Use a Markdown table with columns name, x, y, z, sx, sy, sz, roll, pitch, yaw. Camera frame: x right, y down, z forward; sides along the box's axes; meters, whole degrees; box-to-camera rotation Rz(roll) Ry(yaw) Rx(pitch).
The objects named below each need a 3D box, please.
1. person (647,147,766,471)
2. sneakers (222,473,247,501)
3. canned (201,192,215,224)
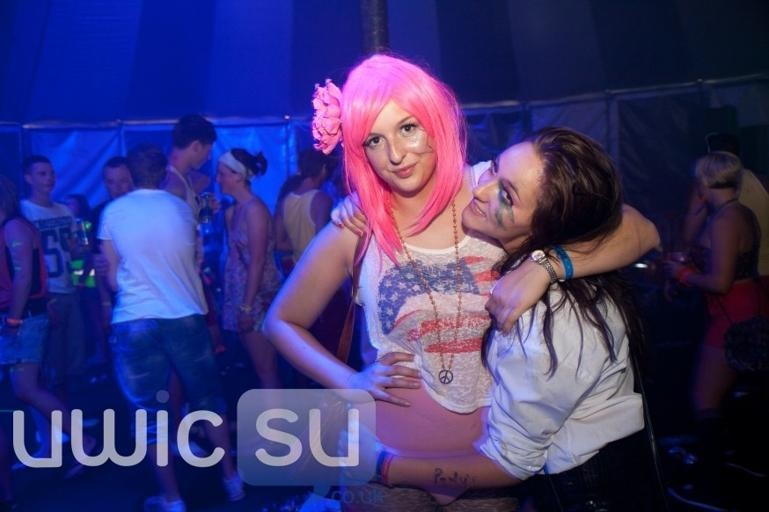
| name | x | y | z | sx | sy | sz | roll | pitch | yaw |
| --- | --- | --- | --- | --- | --- | --- | --- | --- | --- |
| person | 2.703 | 0.376 | 4.925 | 0.641 | 2.379 | 0.476 | -5 | 7 | -1 |
| sneakers | -1.213 | 1.868 | 4.966 | 0.178 | 0.208 | 0.175 | -2 | -10 | -18 |
| canned | -1.463 | -0.407 | 5.113 | 0.157 | 0.236 | 0.079 | 3 | -12 | -17 |
